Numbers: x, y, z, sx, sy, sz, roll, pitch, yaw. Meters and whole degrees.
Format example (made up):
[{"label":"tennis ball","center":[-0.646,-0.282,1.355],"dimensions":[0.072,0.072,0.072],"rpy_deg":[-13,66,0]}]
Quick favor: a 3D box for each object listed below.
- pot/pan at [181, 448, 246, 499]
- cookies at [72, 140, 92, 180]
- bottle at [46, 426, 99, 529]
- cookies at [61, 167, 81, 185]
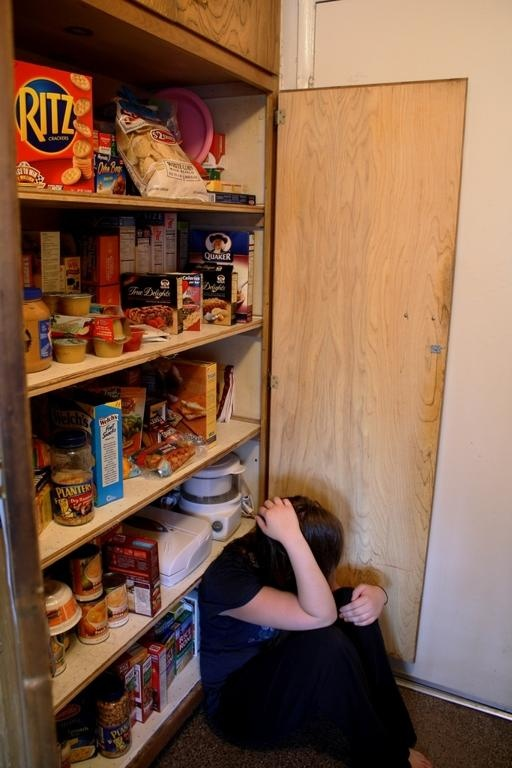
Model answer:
[{"label":"pot/pan","center":[-0.136,0.265,1.849],"dimensions":[0.178,0.136,0.163],"rpy_deg":[6,14,21]},{"label":"cookies","center":[-0.308,-0.398,1.022],"dimensions":[0.013,0.067,0.050],"rpy_deg":[7,15,24]},{"label":"bottle","center":[-0.359,0.185,1.115],"dimensions":[0.080,0.189,0.081],"rpy_deg":[1,9,0]},{"label":"cookies","center":[-0.324,-0.362,1.010],"dimensions":[0.013,0.031,0.038],"rpy_deg":[7,16,24]}]
